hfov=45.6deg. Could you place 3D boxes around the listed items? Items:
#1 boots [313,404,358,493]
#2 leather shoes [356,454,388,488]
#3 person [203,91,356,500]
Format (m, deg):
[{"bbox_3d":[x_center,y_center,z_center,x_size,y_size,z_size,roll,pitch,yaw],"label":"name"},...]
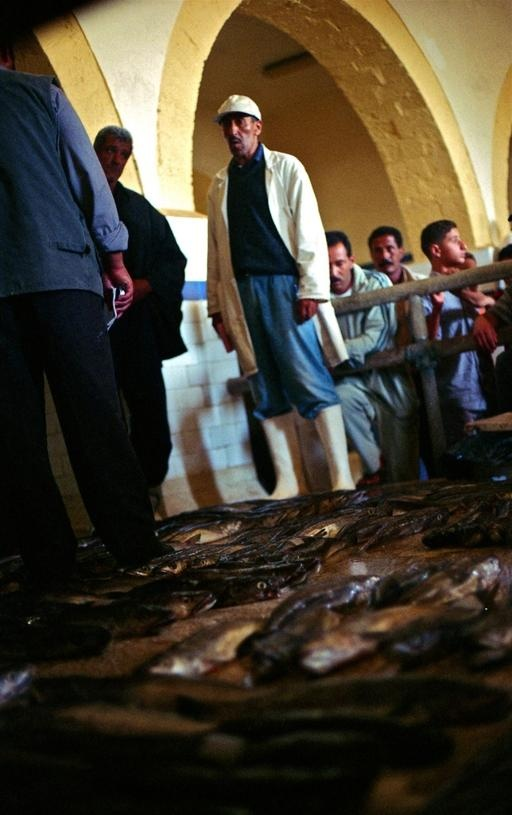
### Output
[{"bbox_3d":[0.398,0.291,3.285,0.131,0.120,0.383,-24,42,-15],"label":"boots"},{"bbox_3d":[0.690,0.411,3.625,0.142,0.169,0.182,3,-32,0],"label":"leather shoes"},{"bbox_3d":[0.070,-0.601,3.352,0.725,2.106,0.437,-11,-2,12],"label":"person"}]
